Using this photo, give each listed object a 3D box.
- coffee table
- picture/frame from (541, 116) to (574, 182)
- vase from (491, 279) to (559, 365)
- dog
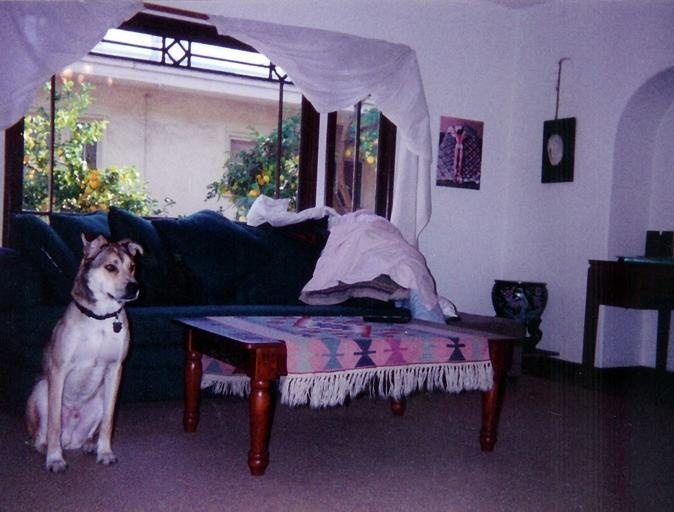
[{"bbox_3d":[0.032,0.671,3.449,1.703,0.665,0.731,0,8,-17],"label":"coffee table"},{"bbox_3d":[1.892,-0.895,5.445,0.059,0.554,0.344,-3,9,-33],"label":"picture/frame"},{"bbox_3d":[1.550,0.544,5.278,0.470,0.957,0.535,3,-5,-17],"label":"vase"},{"bbox_3d":[-1.218,0.446,3.095,0.557,1.111,0.284,-1,8,-23],"label":"dog"}]
